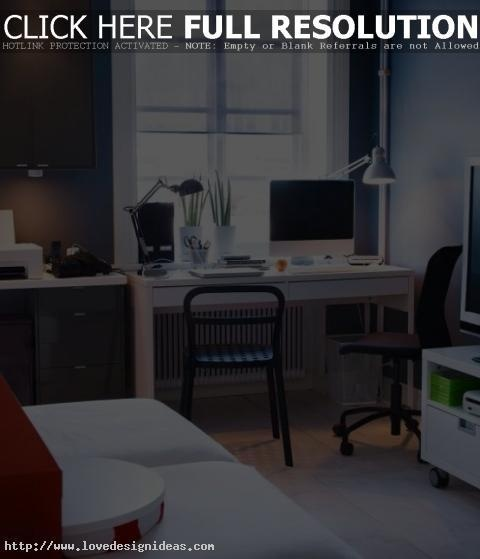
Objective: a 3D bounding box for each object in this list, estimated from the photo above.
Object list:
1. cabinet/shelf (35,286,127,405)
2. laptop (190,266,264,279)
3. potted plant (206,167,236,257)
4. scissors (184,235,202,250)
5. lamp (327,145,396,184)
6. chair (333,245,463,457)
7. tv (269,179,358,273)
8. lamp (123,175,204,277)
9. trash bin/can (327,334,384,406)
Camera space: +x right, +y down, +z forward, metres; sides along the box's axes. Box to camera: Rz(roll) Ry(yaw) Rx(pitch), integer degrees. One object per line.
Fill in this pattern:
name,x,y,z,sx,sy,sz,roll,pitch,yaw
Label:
cabinet/shelf,-0.808,0.333,2.989,0.414,0.859,0.456,0,-1,-20
laptop,-0.057,-0.033,2.900,0.423,0.048,0.291,-1,4,-13
potted plant,-0.122,-0.405,3.433,0.163,0.549,0.248,0,2,-5
scissors,-0.278,-0.218,3.287,0.071,0.102,0.023,2,16,25
lamp,0.724,-0.634,3.268,0.180,0.279,0.397,-1,2,-40
chair,0.720,0.253,3.089,0.648,1.520,0.868,1,0,8
tv,0.416,-0.334,3.192,0.388,0.514,0.111,-3,8,-17
lamp,-0.478,-0.316,3.133,0.497,0.735,0.328,-4,11,-21
trash bin/can,0.717,0.597,3.541,0.272,0.544,0.458,1,3,1
